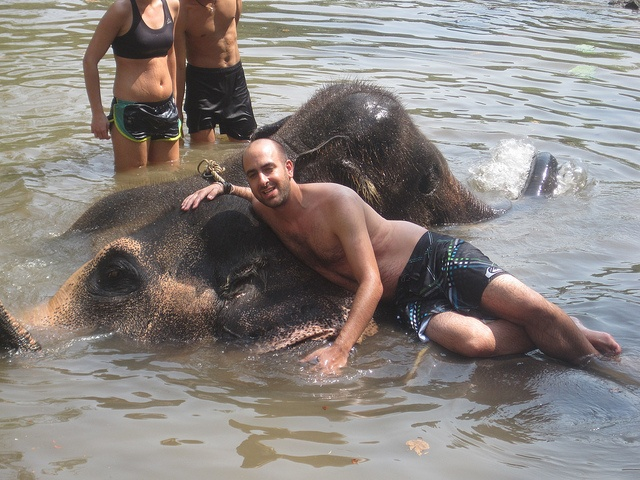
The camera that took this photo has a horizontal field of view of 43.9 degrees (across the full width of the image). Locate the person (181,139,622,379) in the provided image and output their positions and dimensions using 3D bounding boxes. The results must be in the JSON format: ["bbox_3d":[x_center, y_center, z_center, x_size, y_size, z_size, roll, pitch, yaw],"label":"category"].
[{"bbox_3d":[0.615,0.087,5.269,2.301,1.117,1.279,29,34,36],"label":"person"}]
